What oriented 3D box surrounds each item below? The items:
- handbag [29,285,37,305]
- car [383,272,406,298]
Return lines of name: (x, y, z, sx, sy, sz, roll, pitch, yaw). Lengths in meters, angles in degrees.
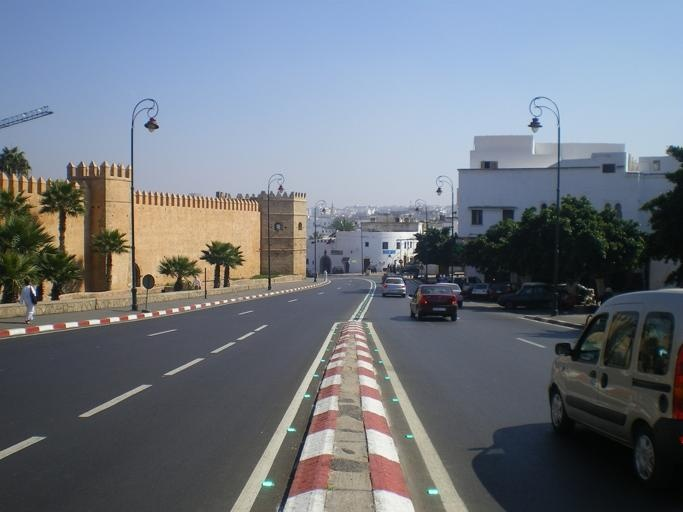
handbag: (-10.372, 1.301, 23.540, 0.163, 0.651, 0.801, -1, 4, -19)
car: (3.460, 2.032, 46.488, 1.453, 1.183, 2.915, 0, 4, 3)
